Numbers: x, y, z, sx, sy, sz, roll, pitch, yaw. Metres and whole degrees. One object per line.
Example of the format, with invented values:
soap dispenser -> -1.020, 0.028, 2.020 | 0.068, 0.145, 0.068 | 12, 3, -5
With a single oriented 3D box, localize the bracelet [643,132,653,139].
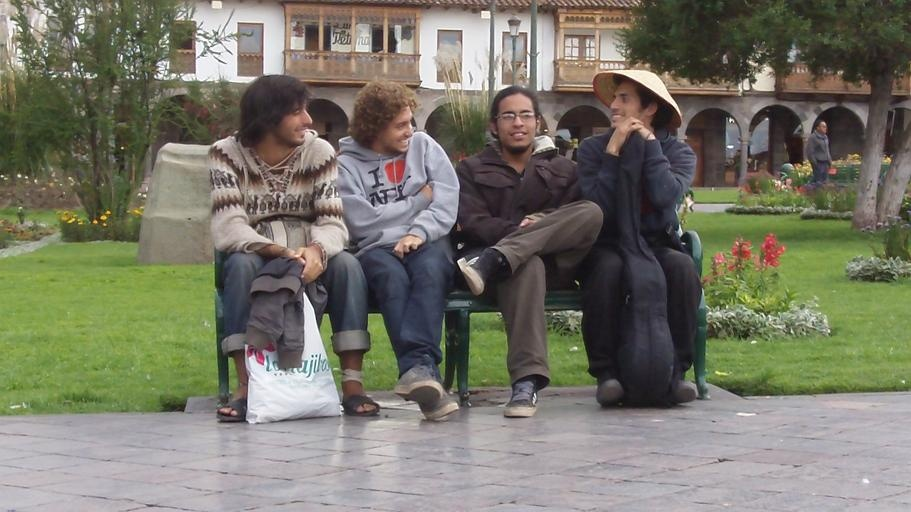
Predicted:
bracelet -> 2.359, -1.469, 15.551 | 0.105, 0.031, 0.090 | 13, 18, -31

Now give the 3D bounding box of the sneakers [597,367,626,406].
sneakers -> 1.864, 1.619, 15.268 | 0.321, 0.438, 0.201 | -2, 2, 6

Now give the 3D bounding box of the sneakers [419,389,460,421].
sneakers -> -0.065, 1.791, 14.965 | 0.585, 0.230, 0.244 | -16, 1, 33

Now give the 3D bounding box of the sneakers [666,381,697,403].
sneakers -> 2.716, 1.645, 15.239 | 0.397, 0.224, 0.194 | -8, -26, -3
